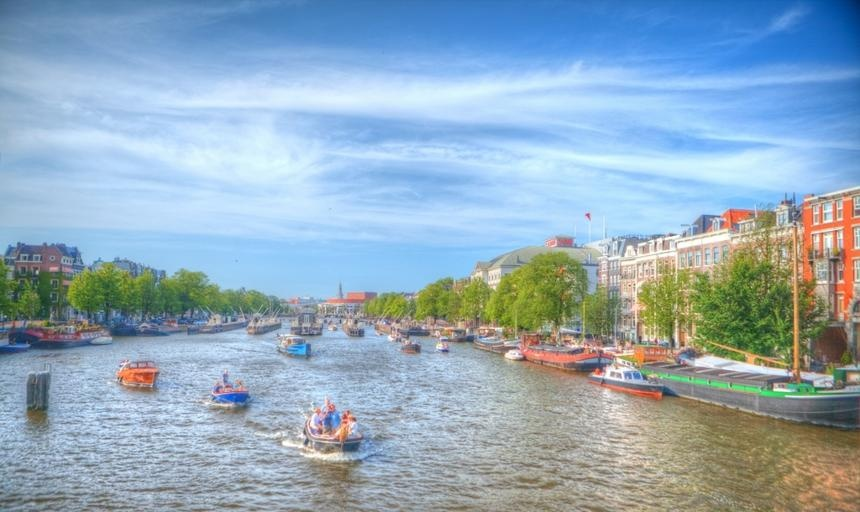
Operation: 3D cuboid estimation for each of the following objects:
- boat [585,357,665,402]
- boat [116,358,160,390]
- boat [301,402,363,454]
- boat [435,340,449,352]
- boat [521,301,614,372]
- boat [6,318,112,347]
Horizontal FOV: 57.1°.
[{"bbox_3d":[28.179,17.401,114.698,4.657,4.270,12.704,-9,9,-36],"label":"boat"},{"bbox_3d":[-42.382,17.198,114.868,4.412,3.895,7.767,7,-9,-36],"label":"boat"},{"bbox_3d":[-11.329,20.242,92.320,8.066,4.926,11.058,0,-1,-4],"label":"boat"},{"bbox_3d":[2.561,19.062,166.840,2.544,2.433,5.178,1,-8,4],"label":"boat"},{"bbox_3d":[23.824,17.193,141.730,10.100,6.993,26.308,3,-8,-10],"label":"boat"},{"bbox_3d":[-75.002,16.438,162.498,25.673,7.628,10.022,-1,-5,15],"label":"boat"}]
